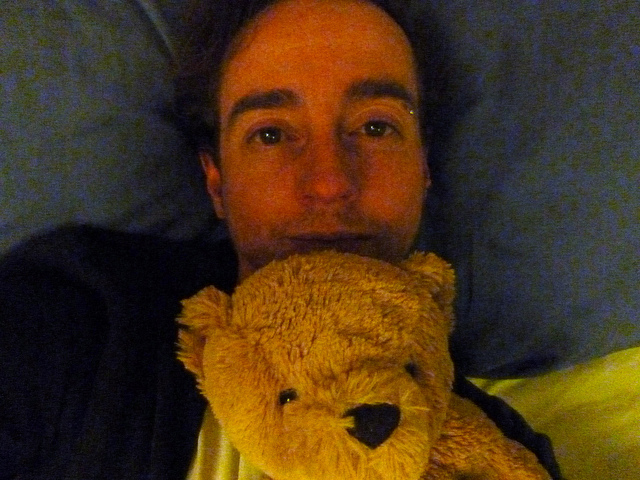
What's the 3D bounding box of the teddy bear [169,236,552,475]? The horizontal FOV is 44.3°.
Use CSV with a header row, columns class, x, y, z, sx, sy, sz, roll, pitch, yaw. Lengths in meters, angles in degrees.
class,x,y,z,sx,sy,sz,roll,pitch,yaw
teddy bear,0.013,0.166,1.053,0.393,0.202,0.284,-10,40,2
